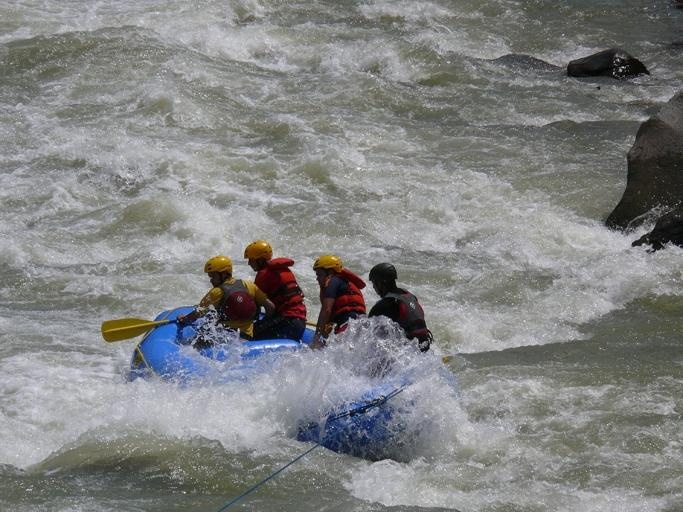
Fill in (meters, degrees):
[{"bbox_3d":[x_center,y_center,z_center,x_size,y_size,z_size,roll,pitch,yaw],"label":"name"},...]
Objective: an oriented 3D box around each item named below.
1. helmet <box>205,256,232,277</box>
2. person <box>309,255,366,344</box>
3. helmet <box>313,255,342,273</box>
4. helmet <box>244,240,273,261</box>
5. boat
[{"bbox_3d":[-1.797,0.136,21.476,0.402,0.183,0.250,-1,10,-20],"label":"helmet"},{"bbox_3d":[-0.061,0.706,21.614,0.981,0.575,1.641,-5,51,0],"label":"person"},{"bbox_3d":[-0.181,0.114,21.475,0.402,0.154,0.254,9,-5,0],"label":"helmet"},{"bbox_3d":[-1.250,-0.091,21.741,0.439,0.241,0.260,-3,20,-7],"label":"helmet"},{"bbox_3d":[-1.099,1.803,20.968,3.619,0.897,2.340,15,12,19],"label":"boat"}]
